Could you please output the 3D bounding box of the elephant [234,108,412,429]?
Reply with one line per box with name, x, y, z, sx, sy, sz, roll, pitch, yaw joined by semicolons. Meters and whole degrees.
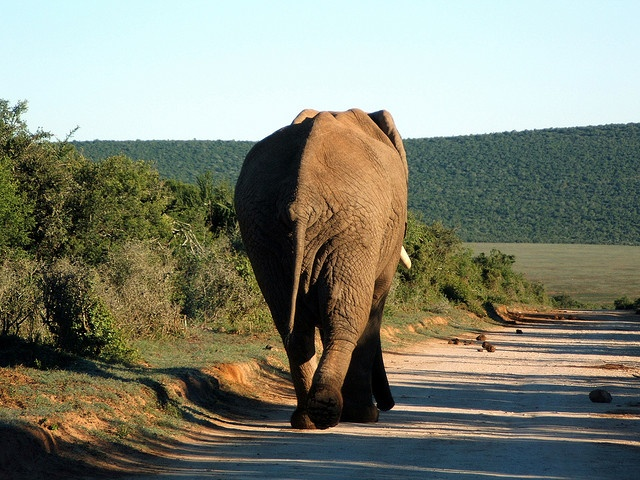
elephant;0.506;0.391;17.886;2.600;6.410;9.646;0;0;12
